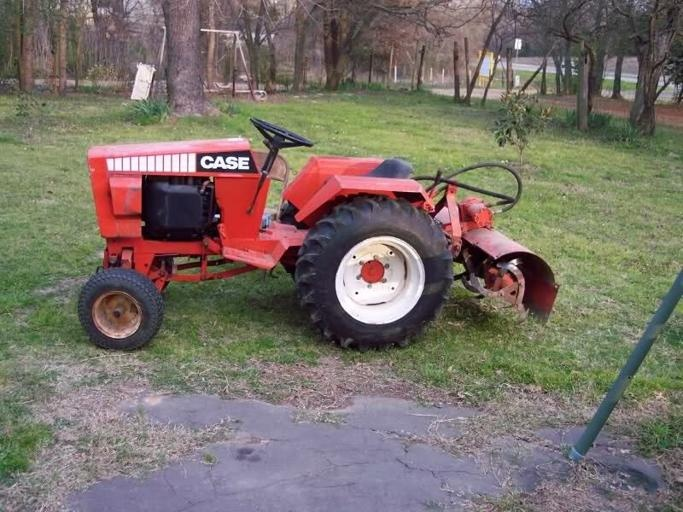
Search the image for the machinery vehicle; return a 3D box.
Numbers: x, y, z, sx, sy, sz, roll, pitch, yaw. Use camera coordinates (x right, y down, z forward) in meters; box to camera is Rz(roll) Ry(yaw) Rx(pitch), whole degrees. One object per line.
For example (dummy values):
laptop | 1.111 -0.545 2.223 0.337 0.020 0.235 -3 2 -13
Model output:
machinery vehicle | -0.254 -0.299 6.361 4.106 2.083 2.012 -1 16 -8
